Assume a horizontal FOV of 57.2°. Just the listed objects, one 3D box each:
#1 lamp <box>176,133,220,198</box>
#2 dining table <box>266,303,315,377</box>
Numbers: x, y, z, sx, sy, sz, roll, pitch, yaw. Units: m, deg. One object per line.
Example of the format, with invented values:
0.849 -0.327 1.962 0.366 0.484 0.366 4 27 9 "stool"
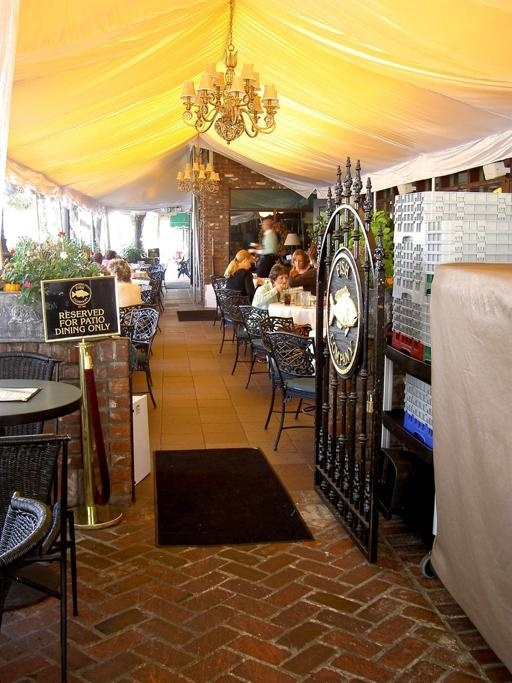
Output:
-1.387 -4.295 11.456 0.986 1.468 0.988 -2 7 -20 "lamp"
0.386 -0.051 5.828 0.696 0.640 0.695 -3 14 -9 "dining table"
